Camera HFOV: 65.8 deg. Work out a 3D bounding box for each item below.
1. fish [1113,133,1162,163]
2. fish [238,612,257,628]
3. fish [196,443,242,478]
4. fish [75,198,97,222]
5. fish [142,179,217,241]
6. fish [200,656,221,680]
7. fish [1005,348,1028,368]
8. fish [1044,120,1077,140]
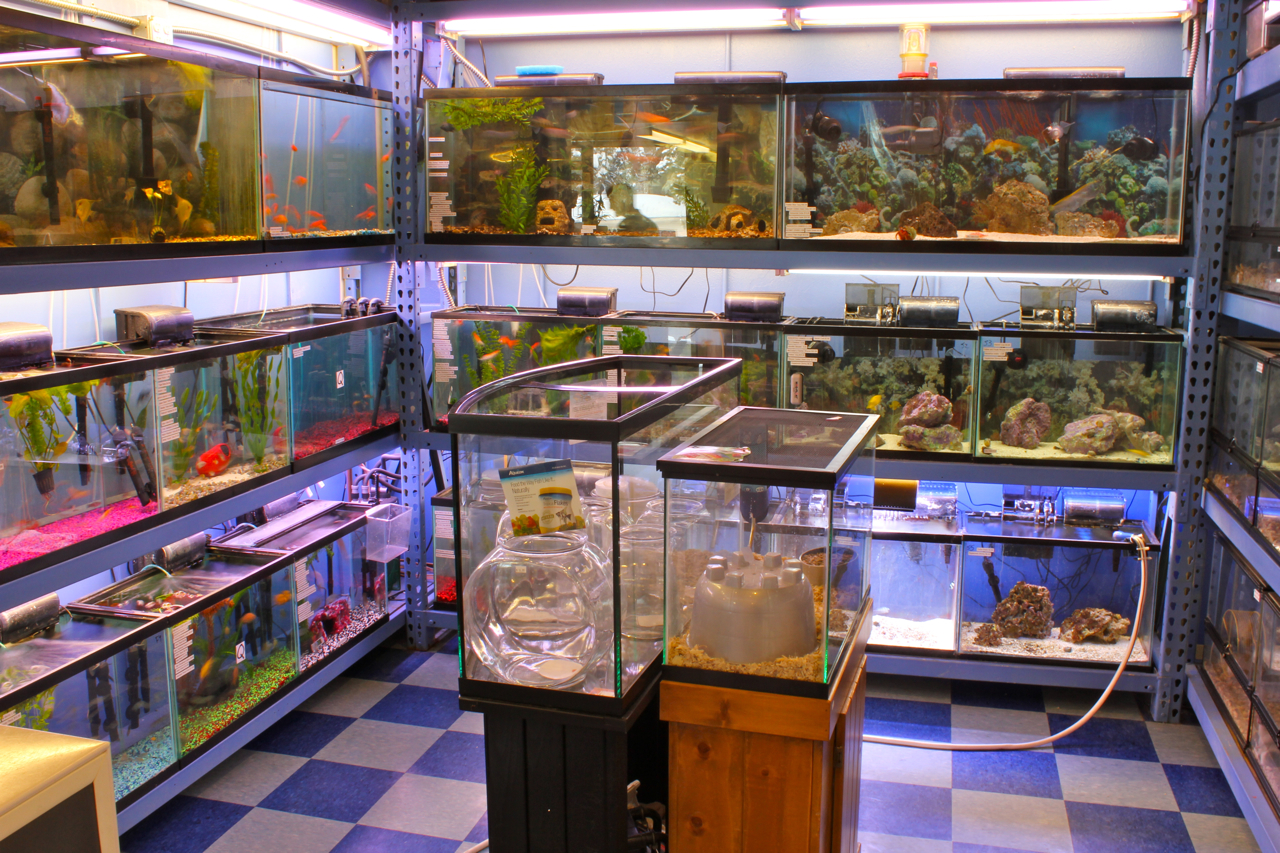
[{"bbox_3d":[2.233,-1.256,4.432,0.187,0.120,0.012,0,11,1],"label":"fish"},{"bbox_3d":[-1.752,0.853,4.404,0.080,0.050,0.107,2,-2,-19],"label":"fish"},{"bbox_3d":[-1.811,0.135,4.213,0.018,0.130,0.173,5,13,25],"label":"fish"},{"bbox_3d":[-1.971,-0.776,3.512,0.061,0.089,0.022,-6,14,-41],"label":"fish"},{"bbox_3d":[-1.803,-0.853,3.865,0.048,0.231,0.315,3,12,19],"label":"fish"},{"bbox_3d":[-1.837,1.027,4.235,0.017,0.072,0.069,15,49,16],"label":"fish"},{"bbox_3d":[1.774,-0.332,4.650,0.087,0.087,0.020,13,15,5],"label":"fish"},{"bbox_3d":[1.888,-1.344,4.460,0.077,0.103,0.039,16,0,13],"label":"fish"}]
